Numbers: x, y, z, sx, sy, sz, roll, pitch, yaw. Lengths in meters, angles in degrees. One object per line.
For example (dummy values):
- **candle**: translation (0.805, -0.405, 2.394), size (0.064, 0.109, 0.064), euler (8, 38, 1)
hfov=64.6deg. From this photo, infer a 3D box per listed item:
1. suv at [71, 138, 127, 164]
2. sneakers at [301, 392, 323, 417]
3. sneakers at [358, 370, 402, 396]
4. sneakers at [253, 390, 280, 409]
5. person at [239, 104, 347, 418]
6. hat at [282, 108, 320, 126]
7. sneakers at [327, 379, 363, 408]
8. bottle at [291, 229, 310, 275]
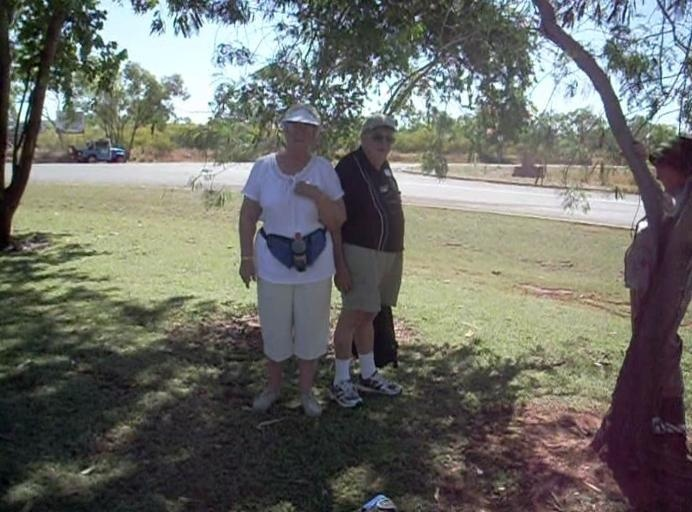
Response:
- **suv**: translation (-18.155, -7.710, 40.315), size (1.609, 1.558, 3.578), euler (12, 16, 37)
- **sneakers**: translation (-0.298, 1.289, 4.757), size (0.105, 0.117, 0.233), euler (-4, 6, -13)
- **sneakers**: translation (0.343, 1.181, 5.269), size (0.423, 0.247, 0.191), euler (3, 3, 7)
- **sneakers**: translation (-0.695, 1.215, 4.818), size (0.115, 0.111, 0.312), euler (-33, 5, 19)
- **person**: translation (-0.467, 0.042, 4.668), size (0.890, 2.608, 0.391), euler (2, 10, 0)
- **hat**: translation (-0.364, -1.155, 4.478), size (0.288, 0.162, 0.199), euler (-1, 13, -18)
- **sneakers**: translation (-0.009, 1.243, 4.997), size (0.143, 0.180, 0.333), euler (-2, 2, -39)
- **bottle**: translation (-0.381, -0.034, 4.506), size (0.137, 0.318, 0.070), euler (0, 11, -11)
